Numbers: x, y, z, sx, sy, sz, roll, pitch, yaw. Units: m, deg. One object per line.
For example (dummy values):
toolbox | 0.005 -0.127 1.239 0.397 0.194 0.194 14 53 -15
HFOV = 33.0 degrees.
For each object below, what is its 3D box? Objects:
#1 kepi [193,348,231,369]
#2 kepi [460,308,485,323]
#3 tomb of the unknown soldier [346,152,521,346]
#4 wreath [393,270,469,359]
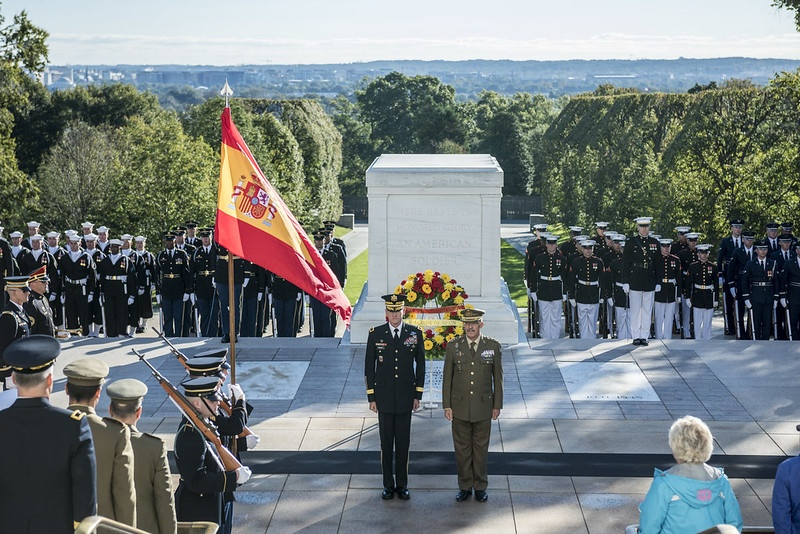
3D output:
kepi | -3.114 1.602 22.506 0.660 0.231 0.469 4 1 -3
kepi | 1.288 0.862 24.071 0.403 0.258 0.575 -4 10 2
tomb of the unknown soldier | 0.857 -0.710 31.406 3.916 3.694 4.125 0 4 2
wreath | 0.712 0.955 26.812 1.514 1.701 0.632 -4 -3 5
